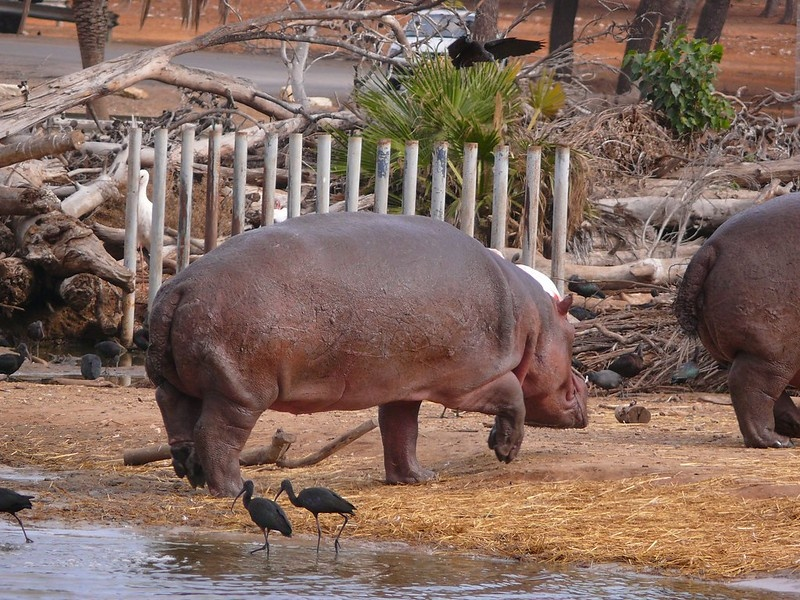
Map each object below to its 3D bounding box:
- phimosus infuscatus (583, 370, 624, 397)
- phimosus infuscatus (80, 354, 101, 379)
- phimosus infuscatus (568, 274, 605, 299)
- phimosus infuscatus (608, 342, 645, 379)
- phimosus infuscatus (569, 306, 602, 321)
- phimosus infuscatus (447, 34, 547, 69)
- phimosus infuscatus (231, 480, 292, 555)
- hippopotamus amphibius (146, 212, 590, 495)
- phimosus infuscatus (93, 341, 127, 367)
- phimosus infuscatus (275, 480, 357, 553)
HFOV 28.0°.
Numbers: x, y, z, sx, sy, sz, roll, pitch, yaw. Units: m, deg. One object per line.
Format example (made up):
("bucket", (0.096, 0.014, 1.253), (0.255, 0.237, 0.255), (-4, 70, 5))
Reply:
("phimosus infuscatus", (2.115, 0.832, 16.364), (0.421, 0.163, 0.241), (4, -4, -25))
("phimosus infuscatus", (-3.255, 0.708, 17.015), (0.193, 0.245, 0.391), (-2, 11, -13))
("phimosus infuscatus", (2.110, -0.160, 18.149), (0.455, 0.127, 0.287), (19, 24, 41))
("phimosus infuscatus", (2.364, 0.663, 16.786), (0.357, 0.405, 0.534), (2, 11, 7))
("phimosus infuscatus", (2.052, 0.169, 17.732), (0.308, 0.086, 0.155), (14, 9, -28))
("phimosus infuscatus", (1.020, -2.864, 18.454), (0.962, 0.417, 0.589), (0, 9, -16))
("phimosus infuscatus", (-0.946, 1.525, 11.450), (0.362, 0.357, 0.772), (-1, 11, -7))
("hippopotamus amphibius", (-0.144, 0.528, 12.705), (3.673, 1.683, 1.385), (3, -6, -23))
("phimosus infuscatus", (-3.348, 0.588, 18.380), (0.200, 0.251, 0.553), (-7, 7, -25))
("phimosus infuscatus", (-0.592, 1.524, 11.433), (0.707, 0.475, 0.179), (-3, -7, 29))
